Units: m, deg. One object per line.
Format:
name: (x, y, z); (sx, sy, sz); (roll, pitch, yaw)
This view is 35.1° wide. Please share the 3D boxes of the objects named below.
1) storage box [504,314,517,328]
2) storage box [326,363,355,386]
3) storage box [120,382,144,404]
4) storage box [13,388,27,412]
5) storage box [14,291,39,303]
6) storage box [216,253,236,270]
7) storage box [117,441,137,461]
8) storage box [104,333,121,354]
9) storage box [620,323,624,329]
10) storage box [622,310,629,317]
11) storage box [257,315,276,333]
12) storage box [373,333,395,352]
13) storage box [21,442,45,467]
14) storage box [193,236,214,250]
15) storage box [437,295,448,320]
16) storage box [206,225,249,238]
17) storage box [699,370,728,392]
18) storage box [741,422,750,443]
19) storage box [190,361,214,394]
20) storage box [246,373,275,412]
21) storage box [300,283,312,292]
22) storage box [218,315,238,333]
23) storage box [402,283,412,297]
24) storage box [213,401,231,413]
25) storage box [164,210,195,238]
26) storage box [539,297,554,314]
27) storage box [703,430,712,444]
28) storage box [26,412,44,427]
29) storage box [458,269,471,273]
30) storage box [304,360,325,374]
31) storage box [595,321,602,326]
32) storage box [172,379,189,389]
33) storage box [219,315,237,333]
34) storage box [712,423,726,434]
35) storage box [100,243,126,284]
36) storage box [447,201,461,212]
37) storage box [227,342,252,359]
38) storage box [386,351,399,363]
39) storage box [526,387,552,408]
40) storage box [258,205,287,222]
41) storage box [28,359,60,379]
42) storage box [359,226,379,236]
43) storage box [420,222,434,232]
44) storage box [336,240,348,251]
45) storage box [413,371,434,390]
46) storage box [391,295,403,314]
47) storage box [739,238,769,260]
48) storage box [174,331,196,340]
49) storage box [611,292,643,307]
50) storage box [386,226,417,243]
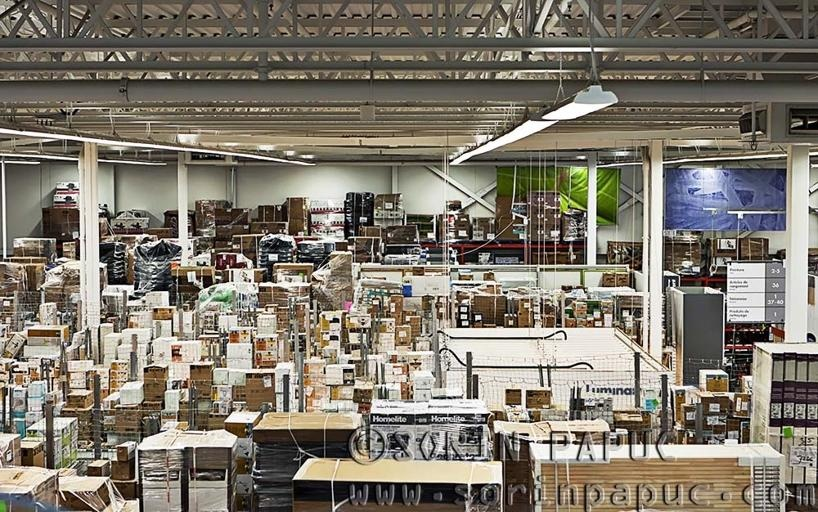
storage box: (2.429, 1.591, 31.035); (0.269, 0.263, 0.093); (-1, 0, 3)
storage box: (-1.430, 2.487, 26.602); (0.592, 0.352, 0.404); (-1, 0, -8)
storage box: (-5.567, 2.810, 25.954); (0.343, 0.300, 0.600); (1, 1, -5)
storage box: (-7.805, 2.942, 26.046); (0.236, 0.357, 0.237); (-1, 0, -9)
storage box: (-9.573, 1.103, 32.714); (0.358, 0.233, 0.377); (0, 2, 5)
storage box: (-5.039, 0.189, 35.657); (0.472, 0.473, 0.371); (3, 4, 18)
storage box: (-5.325, 3.713, 24.428); (0.290, 0.248, 0.511); (2, -1, -2)
storage box: (-6.547, 1.975, 28.792); (0.341, 0.590, 0.638); (1, 1, -1)
storage box: (5.216, 1.788, 31.853); (0.150, 0.114, 0.151); (-1, 5, 3)
storage box: (5.293, 1.478, 31.859); (0.219, 0.208, 0.126); (1, 4, 4)
storage box: (-3.219, 1.591, 29.163); (0.365, 0.380, 0.356); (1, -3, -4)
storage box: (-0.583, 1.982, 28.985); (0.406, 0.405, 0.412); (1, 1, 4)
storage box: (-6.978, 3.723, 24.014); (0.461, 0.451, 0.453); (1, 1, -19)
storage box: (-6.266, -0.299, 39.325); (0.680, 0.369, 0.451); (-1, 2, -15)
storage box: (0.840, 1.282, 31.040); (0.241, 0.474, 0.374); (-1, 0, 38)
storage box: (-5.368, -0.685, 39.009); (1.038, 0.314, 0.286); (-1, 0, 9)
storage box: (6.198, 2.584, 26.502); (0.436, 0.274, 0.442); (0, 3, 7)
storage box: (6.618, 3.514, 25.637); (0.161, 0.386, 0.110); (-1, 0, -7)
storage box: (-4.243, 2.554, 26.490); (0.469, 0.514, 0.346); (-1, 0, -10)
storage box: (-2.977, 2.782, 26.078); (0.728, 1.005, 0.543); (0, 6, 0)
storage box: (-2.548, 0.830, 32.023); (0.109, 0.155, 0.470); (-1, 0, 17)
storage box: (-4.136, 1.581, 29.570); (0.440, 0.407, 0.418); (0, 4, -4)
storage box: (-0.057, 0.888, 31.505); (0.284, 0.292, 0.276); (2, -6, -7)
storage box: (-3.754, 3.074, 25.906); (0.239, 0.153, 0.243); (1, -1, 3)
storage box: (-7.151, -0.985, 40.435); (1.064, 1.032, 0.894); (0, 4, 3)
storage box: (3.358, 1.268, 31.615); (0.374, 0.365, 0.381); (0, 5, 14)
storage box: (5.834, 3.580, 25.418); (0.204, 0.228, 0.054); (0, -35, 15)
storage box: (-7.536, 3.345, 26.095); (0.287, 0.292, 0.287); (0, 0, -3)
storage box: (1.467, 0.457, 34.499); (0.267, 0.074, 0.293); (-1, 0, 20)
storage box: (-1.971, 2.349, 27.161); (0.323, 0.207, 0.302); (1, 6, 2)
storage box: (4.609, 1.713, 31.708); (0.205, 0.145, 0.115); (0, -2, 2)
storage box: (-4.679, 2.672, 26.506); (0.333, 0.190, 0.317); (2, 0, -26)
storage box: (-4.136, 1.609, 29.564); (0.431, 0.400, 0.401); (1, -3, -8)
storage box: (6.124, 3.479, 25.690); (0.321, 0.227, 0.177); (-1, -2, 2)
storage box: (-7.777, 0.211, 33.894); (0.756, 0.668, 1.147); (3, -42, -9)
storage box: (1.320, -1.460, 39.603); (0.564, 0.312, 0.388); (2, -4, 24)
storage box: (-3.641, 2.081, 27.701); (0.524, 0.297, 0.334); (1, -4, -2)
storage box: (-0.375, 2.209, 27.791); (0.212, 0.203, 0.212); (0, 4, 3)
storage box: (2.543, 2.856, 25.613); (0.618, 0.349, 0.450); (1, -2, 0)
storage box: (-4.225, -1.264, 40.121); (0.887, 0.394, 0.652); (-1, 0, -17)
storage box: (-7.805, 2.430, 27.591); (0.504, 0.380, 0.494); (1, 2, -2)
storage box: (-1.094, -0.649, 37.705); (0.525, 0.311, 0.389); (4, -8, -1)
storage box: (0.509, -0.814, 40.019); (0.420, 0.274, 0.253); (-1, 0, 0)
storage box: (-1.898, -0.218, 36.431); (0.266, 0.198, 0.260); (0, -1, -3)
storage box: (0.263, 2.340, 23.986); (0.311, 0.198, 0.319); (0, 2, 3)
storage box: (-0.319, 1.224, 30.615); (0.336, 0.487, 0.341); (0, 7, -5)
storage box: (9.690, -0.139, 36.519); (0.994, 0.733, 0.537); (-1, 0, 2)
storage box: (-5.074, 1.880, 29.614); (0.271, 0.180, 0.283); (0, 1, 7)
storage box: (5.363, 1.127, 31.991); (0.714, 0.342, 0.304); (-1, 0, 14)
storage box: (-0.224, -0.534, 37.462); (0.885, 0.492, 0.573); (2, -6, 2)
